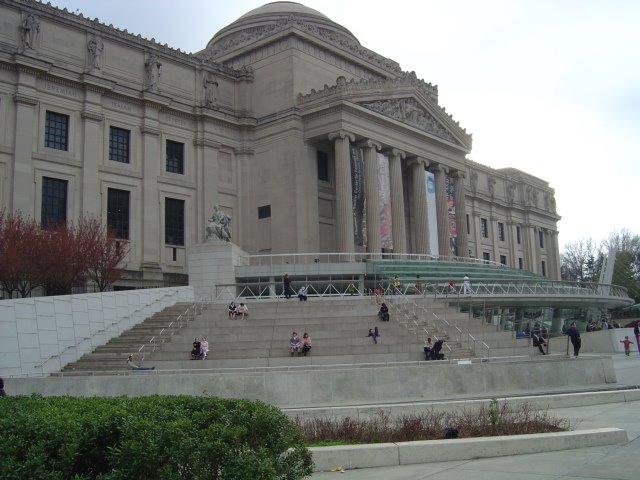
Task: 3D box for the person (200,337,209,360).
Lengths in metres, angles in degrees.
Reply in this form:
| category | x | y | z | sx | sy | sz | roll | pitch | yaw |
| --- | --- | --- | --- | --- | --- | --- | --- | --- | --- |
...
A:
| category | x | y | z | sx | sy | sz | roll | pitch | yaw |
| --- | --- | --- | --- | --- | --- | --- | --- | --- | --- |
| person | -4.734 | 4.478 | 25.611 | 0.340 | 0.871 | 0.700 | 1 | -10 | -11 |

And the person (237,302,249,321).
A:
| category | x | y | z | sx | sy | sz | roll | pitch | yaw |
| --- | --- | --- | --- | --- | --- | --- | --- | --- | --- |
| person | -3.954 | 3.603 | 31.705 | 0.562 | 0.889 | 1.023 | -1 | -10 | -1 |

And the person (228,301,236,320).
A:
| category | x | y | z | sx | sy | sz | roll | pitch | yaw |
| --- | --- | --- | --- | --- | --- | --- | --- | --- | --- |
| person | -4.373 | 3.591 | 31.492 | 0.415 | 0.904 | 0.825 | 0 | -10 | -7 |

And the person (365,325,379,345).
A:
| category | x | y | z | sx | sy | sz | roll | pitch | yaw |
| --- | --- | --- | --- | --- | --- | --- | --- | --- | --- |
| person | 2.381 | 4.148 | 27.173 | 0.442 | 0.751 | 0.374 | 10 | 10 | 38 |

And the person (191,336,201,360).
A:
| category | x | y | z | sx | sy | sz | roll | pitch | yaw |
| --- | --- | --- | --- | --- | --- | --- | --- | --- | --- |
| person | -5.083 | 4.513 | 25.668 | 0.373 | 0.828 | 0.831 | 1 | -10 | -13 |

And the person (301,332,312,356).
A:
| category | x | y | z | sx | sy | sz | roll | pitch | yaw |
| --- | --- | --- | --- | --- | --- | --- | --- | --- | --- |
| person | -0.541 | 4.345 | 25.893 | 0.448 | 0.935 | 0.643 | -1 | -10 | 1 |

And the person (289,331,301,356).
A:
| category | x | y | z | sx | sy | sz | roll | pitch | yaw |
| --- | --- | --- | --- | --- | --- | --- | --- | --- | --- |
| person | -0.991 | 4.317 | 25.767 | 0.447 | 0.950 | 0.509 | 0 | -10 | -4 |

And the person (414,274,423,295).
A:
| category | x | y | z | sx | sy | sz | roll | pitch | yaw |
| --- | --- | --- | --- | --- | --- | --- | --- | --- | --- |
| person | 6.310 | 2.922 | 39.585 | 0.465 | 1.102 | 1.079 | -3 | -10 | 9 |

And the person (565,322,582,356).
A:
| category | x | y | z | sx | sy | sz | roll | pitch | yaw |
| --- | --- | --- | --- | --- | --- | --- | --- | --- | --- |
| person | 11.878 | 4.675 | 29.086 | 0.506 | 1.488 | 3.106 | -5 | -11 | 21 |

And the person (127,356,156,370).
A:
| category | x | y | z | sx | sy | sz | roll | pitch | yaw |
| --- | --- | --- | --- | --- | --- | --- | --- | --- | --- |
| person | -7.251 | 5.013 | 24.768 | 1.155 | 0.619 | 0.653 | -3 | -6 | 38 |

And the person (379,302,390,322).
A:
| category | x | y | z | sx | sy | sz | roll | pitch | yaw |
| --- | --- | --- | --- | --- | --- | --- | --- | --- | --- |
| person | 3.157 | 3.577 | 30.583 | 0.553 | 0.946 | 0.866 | -2 | -10 | 6 |

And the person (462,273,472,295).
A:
| category | x | y | z | sx | sy | sz | roll | pitch | yaw |
| --- | --- | --- | --- | --- | --- | --- | --- | --- | --- |
| person | 9.514 | 2.932 | 40.114 | 0.506 | 1.200 | 1.208 | -4 | -11 | 18 |

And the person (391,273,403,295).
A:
| category | x | y | z | sx | sy | sz | roll | pitch | yaw |
| --- | --- | --- | --- | --- | --- | --- | --- | --- | --- |
| person | 4.971 | 2.826 | 39.733 | 0.567 | 1.418 | 1.542 | -2 | -10 | 8 |
